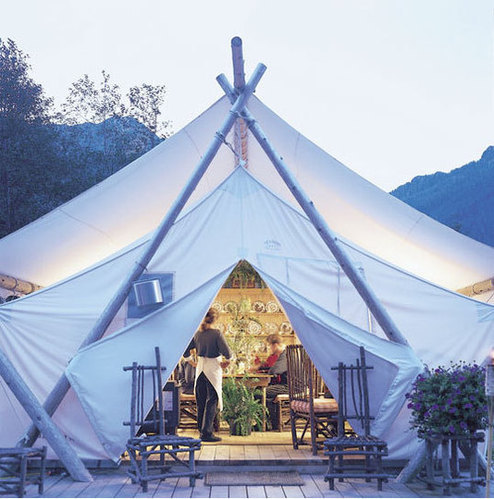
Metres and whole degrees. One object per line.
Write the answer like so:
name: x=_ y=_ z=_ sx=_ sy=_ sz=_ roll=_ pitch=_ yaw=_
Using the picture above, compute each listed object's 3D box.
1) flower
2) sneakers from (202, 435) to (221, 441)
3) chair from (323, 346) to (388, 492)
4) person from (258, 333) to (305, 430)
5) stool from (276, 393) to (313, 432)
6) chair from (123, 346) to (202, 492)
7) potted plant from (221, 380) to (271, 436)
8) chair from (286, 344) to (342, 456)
flower: x=1.978 y=1.526 z=7.971 sx=0.674 sy=0.738 sz=0.712 roll=3 pitch=-9 yaw=-34
sneakers: x=-0.427 y=2.276 z=9.512 sx=0.223 sy=0.103 sz=0.086 roll=1 pitch=-5 yaw=-12
chair: x=1.107 y=1.734 z=8.120 sx=0.566 sy=1.372 sz=0.758 roll=-1 pitch=-8 yaw=10
person: x=0.347 y=1.794 z=11.059 sx=0.495 sy=1.237 sz=0.488 roll=5 pitch=11 yaw=34
stool: x=0.608 y=2.297 z=10.871 sx=0.268 sy=0.356 sz=0.290 roll=1 pitch=2 yaw=11
chair: x=-0.944 y=1.880 z=8.460 sx=0.814 sy=1.505 sz=1.282 roll=5 pitch=-24 yaw=-9
potted plant: x=0.016 y=2.028 z=10.233 sx=0.624 sy=0.897 sz=0.589 roll=-5 pitch=-3 yaw=45
chair: x=0.893 y=1.830 z=9.573 sx=0.669 sy=1.238 sz=0.869 roll=1 pitch=-2 yaw=19
